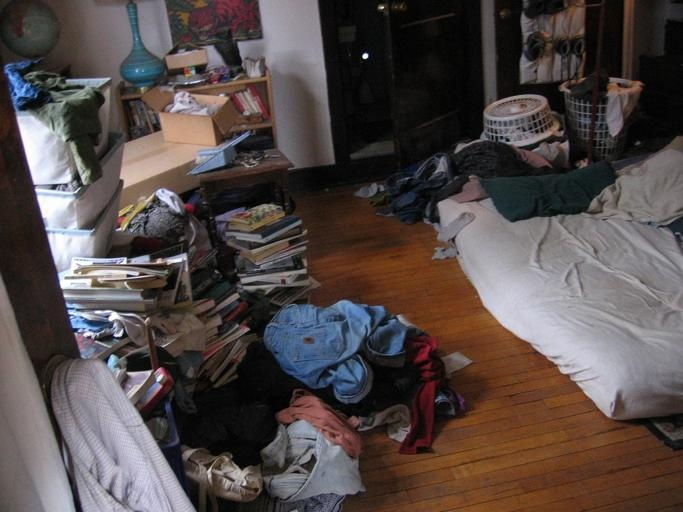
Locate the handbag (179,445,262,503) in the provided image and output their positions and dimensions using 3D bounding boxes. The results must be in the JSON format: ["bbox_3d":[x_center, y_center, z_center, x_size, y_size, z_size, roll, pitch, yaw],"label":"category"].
[{"bbox_3d":[-0.432,0.787,1.923,0.313,0.109,0.213,20,2,12],"label":"handbag"}]

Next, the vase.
[{"bbox_3d":[-1.639,-1.671,4.139,0.335,0.638,0.318,-16,29,-13],"label":"vase"}]

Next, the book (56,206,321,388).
[{"bbox_3d":[-0.583,0.259,2.277,0.984,0.246,0.632,-2,35,-7],"label":"book"}]

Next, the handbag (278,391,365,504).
[{"bbox_3d":[-0.114,0.743,2.144,0.355,0.109,0.217,35,13,15],"label":"handbag"}]

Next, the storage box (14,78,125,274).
[{"bbox_3d":[-1.087,-0.347,2.238,0.298,0.747,0.573,-8,27,4],"label":"storage box"}]

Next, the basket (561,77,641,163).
[{"bbox_3d":[1.972,-1.137,4.415,0.792,0.672,0.708,-7,27,6],"label":"basket"}]

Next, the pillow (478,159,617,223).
[{"bbox_3d":[1.350,-0.404,3.406,0.786,0.099,0.398,-6,39,-4],"label":"pillow"}]

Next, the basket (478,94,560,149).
[{"bbox_3d":[1.449,-1.085,4.232,0.603,0.191,0.569,8,37,31],"label":"basket"}]
